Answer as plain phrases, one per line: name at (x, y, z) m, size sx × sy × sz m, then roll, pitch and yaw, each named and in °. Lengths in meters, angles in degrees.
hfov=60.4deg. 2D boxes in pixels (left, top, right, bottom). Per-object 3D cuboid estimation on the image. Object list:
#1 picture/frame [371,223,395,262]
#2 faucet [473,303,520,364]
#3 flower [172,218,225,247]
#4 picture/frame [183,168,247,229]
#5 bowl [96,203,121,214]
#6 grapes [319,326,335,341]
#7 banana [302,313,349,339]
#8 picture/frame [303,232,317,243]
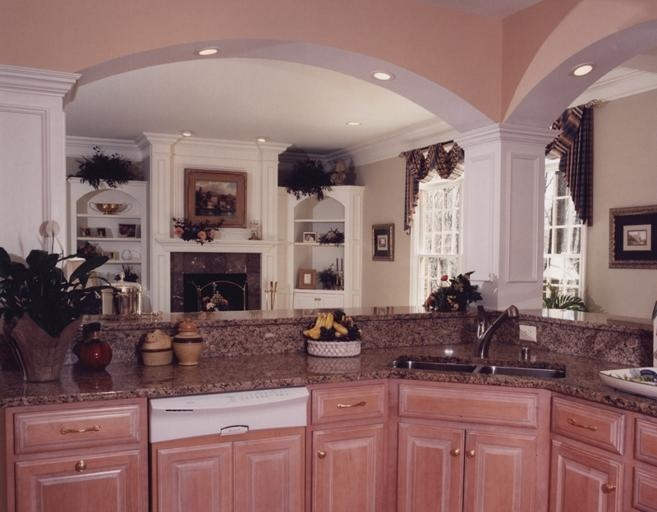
picture/frame at (0.758, -0.201, 7.675) m, size 0.055 × 0.560 × 0.509 m, roll -1°, pitch 1°, yaw -30°
faucet at (0.982, 0.434, 3.298) m, size 0.204 × 0.325 × 0.192 m, roll 4°, pitch 10°, yaw 10°
flower at (-1.739, -0.336, 7.217) m, size 0.504 × 0.349 × 0.104 m, roll 8°, pitch -12°, yaw -21°
picture/frame at (-1.549, -0.772, 7.499) m, size 0.767 × 0.739 × 0.052 m, roll 4°, pitch -4°, yaw -28°
bowl at (-2.940, -0.645, 7.604) m, size 0.353 × 0.146 × 0.282 m, roll -2°, pitch 11°, yaw -24°
grapes at (-0.005, 0.451, 3.266) m, size 0.086 × 0.060 × 0.067 m, roll 2°, pitch 10°, yaw -2°
banana at (-0.007, 0.408, 3.295) m, size 0.162 × 0.063 × 0.185 m, roll -1°, pitch 38°, yaw 5°
picture/frame at (-0.275, -0.279, 8.337) m, size 0.242 × 0.247 × 0.139 m, roll 1°, pitch 3°, yaw 0°
